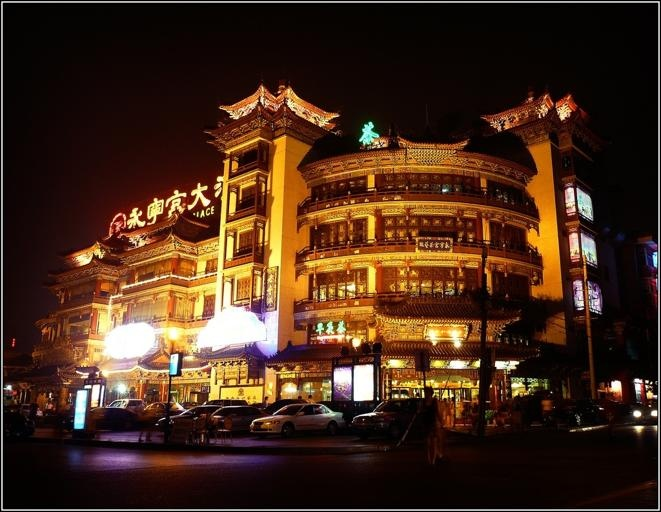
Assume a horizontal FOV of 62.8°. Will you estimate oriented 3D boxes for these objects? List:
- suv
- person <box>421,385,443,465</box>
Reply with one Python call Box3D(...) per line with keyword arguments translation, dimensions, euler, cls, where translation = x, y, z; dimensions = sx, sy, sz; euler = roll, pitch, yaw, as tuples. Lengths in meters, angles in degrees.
Box3D(translation=(3.038, 7.515, 24.588), dimensions=(4.277, 1.483, 1.944), euler=(15, -23, -36), cls="suv")
Box3D(translation=(2.901, 4.752, 15.296), dimensions=(0.508, 2.102, 0.755), euler=(-6, -19, 18), cls="person")
